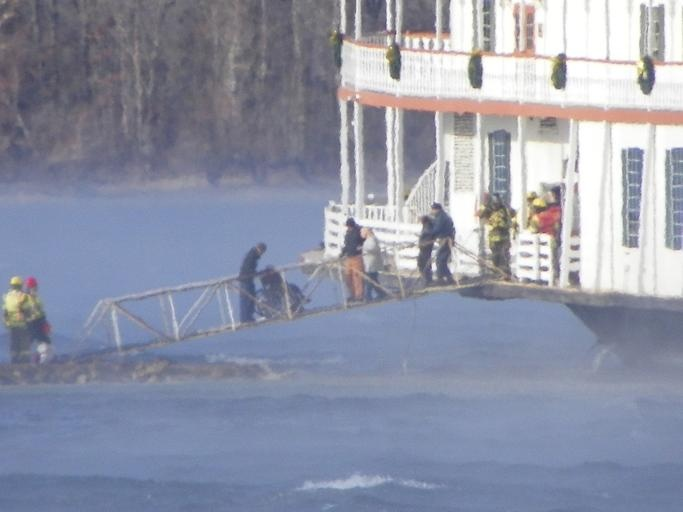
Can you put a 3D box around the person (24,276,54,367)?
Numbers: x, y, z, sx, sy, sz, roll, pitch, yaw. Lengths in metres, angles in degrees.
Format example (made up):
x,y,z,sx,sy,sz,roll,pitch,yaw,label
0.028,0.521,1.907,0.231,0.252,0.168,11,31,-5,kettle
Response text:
x,y,z,sx,sy,sz,roll,pitch,yaw,label
-11.078,2.428,79.157,0.753,3.531,0.992,-18,28,-22,person

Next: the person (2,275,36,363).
x,y,z,sx,sy,sz,roll,pitch,yaw,label
-11.641,2.327,78.660,0.959,3.105,0.554,-3,4,-9,person
